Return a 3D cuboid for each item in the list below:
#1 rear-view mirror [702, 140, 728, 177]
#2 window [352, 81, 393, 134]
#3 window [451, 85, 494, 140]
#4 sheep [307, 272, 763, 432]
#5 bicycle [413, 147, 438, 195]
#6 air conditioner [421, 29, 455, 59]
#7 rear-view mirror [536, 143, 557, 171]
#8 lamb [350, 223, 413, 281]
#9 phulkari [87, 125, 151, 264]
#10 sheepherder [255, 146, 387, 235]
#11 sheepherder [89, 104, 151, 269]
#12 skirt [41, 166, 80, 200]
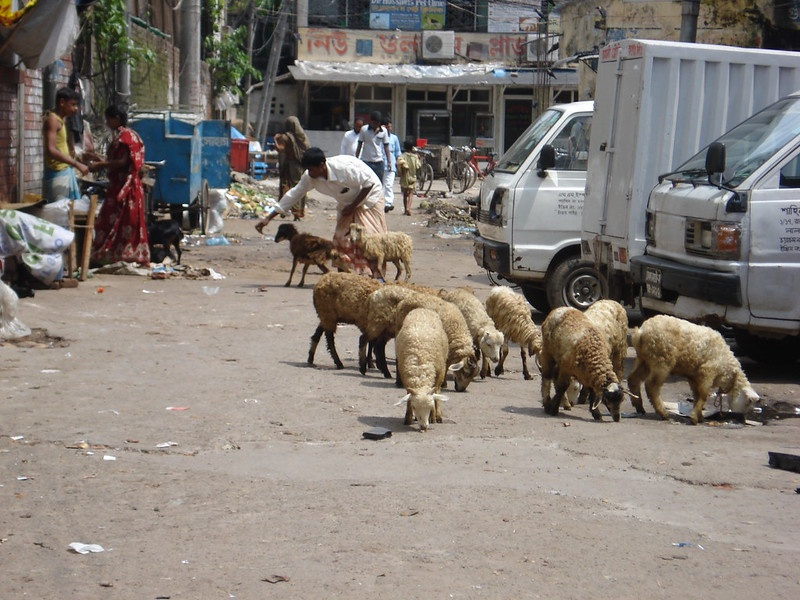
[{"bbox_3d":[2.870,-1.282,9.201,0.171,0.323,0.311,1,14,-12],"label":"rear-view mirror"},{"bbox_3d":[-1.086,-7.936,40.411,1.842,1.972,0.092,1,-34,1],"label":"window"},{"bbox_3d":[3.017,-7.695,40.895,2.220,2.665,0.133,2,7,9],"label":"window"},{"bbox_3d":[1.116,0.155,9.350,2.870,1.537,3.463,0,10,-14],"label":"sheep"},{"bbox_3d":[0.806,-4.194,32.228,0.777,0.994,1.748,-6,13,-4],"label":"bicycle"},{"bbox_3d":[1.554,-10.185,40.303,1.662,1.196,1.015,0,11,-4],"label":"air conditioner"},{"bbox_3d":[1.672,-1.613,11.390,0.315,0.415,0.239,1,2,7],"label":"rear-view mirror"},{"bbox_3d":[-0.243,-0.569,12.655,0.981,0.693,0.298,8,-13,-37],"label":"lamb"},{"bbox_3d":[-3.644,-1.330,12.903,0.677,1.686,0.742,-1,18,-20],"label":"phulkari"},{"bbox_3d":[-0.932,-1.361,12.509,1.439,1.111,1.270,-1,13,-28],"label":"sheepherder"},{"bbox_3d":[-3.505,-1.403,12.795,0.814,1.978,0.726,-1,1,-34],"label":"sheepherder"},{"bbox_3d":[-4.314,-1.481,12.783,0.395,0.640,0.509,2,7,11],"label":"skirt"}]
